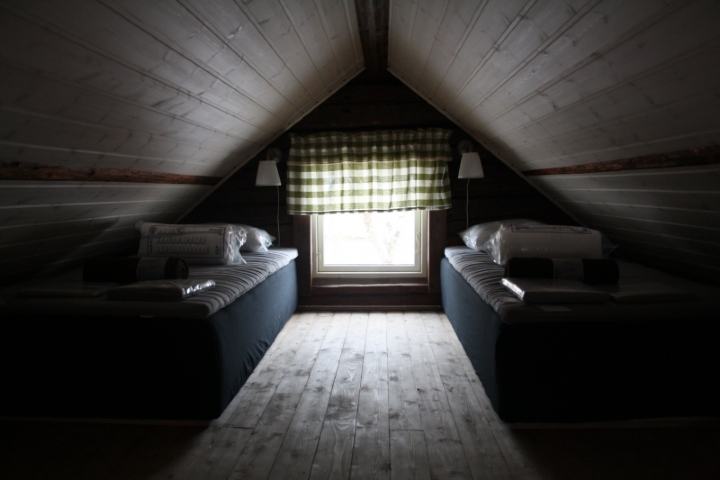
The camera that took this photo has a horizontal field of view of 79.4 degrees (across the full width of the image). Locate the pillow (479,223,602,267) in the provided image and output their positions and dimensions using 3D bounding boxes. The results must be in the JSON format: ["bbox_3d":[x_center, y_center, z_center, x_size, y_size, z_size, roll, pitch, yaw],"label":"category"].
[{"bbox_3d":[1.322,0.018,3.075,0.568,0.222,0.363,2,1,5],"label":"pillow"}]

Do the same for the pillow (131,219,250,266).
[{"bbox_3d":[-1.324,0.020,3.375,0.602,0.235,0.400,2,0,-3],"label":"pillow"}]

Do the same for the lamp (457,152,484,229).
[{"bbox_3d":[1.043,-0.460,4.087,0.242,0.723,0.382,3,14,15],"label":"lamp"}]
